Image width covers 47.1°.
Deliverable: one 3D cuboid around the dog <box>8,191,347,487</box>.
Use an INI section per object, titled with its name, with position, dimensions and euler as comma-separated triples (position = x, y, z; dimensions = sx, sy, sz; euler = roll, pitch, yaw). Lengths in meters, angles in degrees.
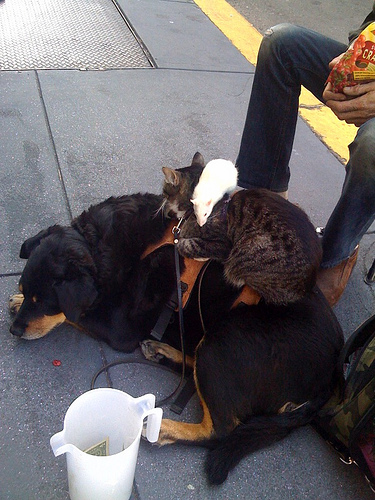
[dog]
position = 0.054, 0.369, 2.042
dimensions = 1.632, 1.028, 0.510
euler = 26, 68, 8
